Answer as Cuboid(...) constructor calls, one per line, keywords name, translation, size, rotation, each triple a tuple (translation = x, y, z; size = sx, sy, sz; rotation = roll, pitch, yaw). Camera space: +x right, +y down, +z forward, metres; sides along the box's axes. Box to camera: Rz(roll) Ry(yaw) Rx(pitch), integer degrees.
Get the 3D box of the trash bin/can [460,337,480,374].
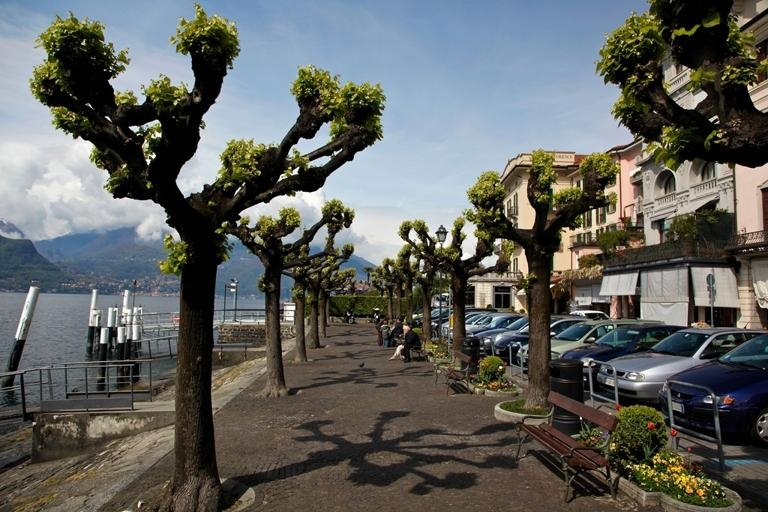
Cuboid(name="trash bin/can", translation=(3.080, 3.512, 18.617), size=(0.585, 1.299, 0.687), rotation=(-4, -11, 8))
